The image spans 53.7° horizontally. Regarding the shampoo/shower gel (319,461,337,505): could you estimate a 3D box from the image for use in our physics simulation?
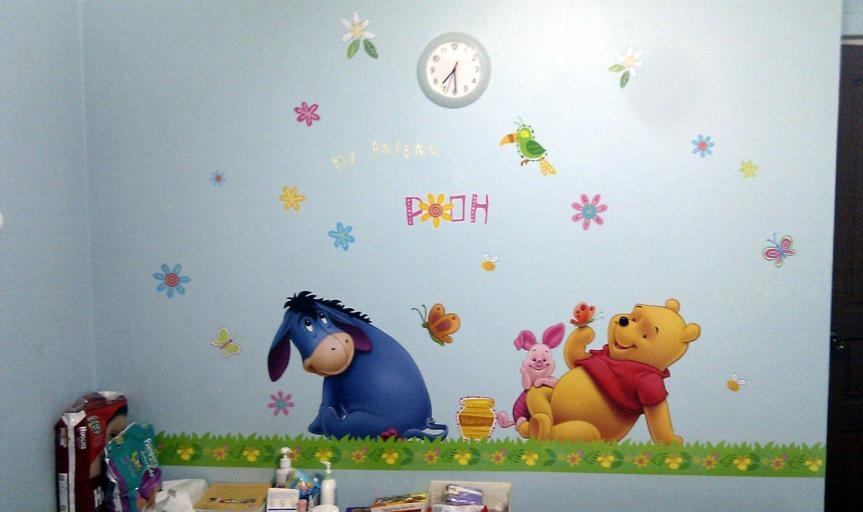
[{"bbox_3d":[-0.570,1.262,4.767,0.097,0.240,0.092,2,-17,-14],"label":"shampoo/shower gel"}]

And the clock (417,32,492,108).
[{"bbox_3d":[0.141,-1.052,4.743,0.397,0.401,0.066,-1,4,3],"label":"clock"}]

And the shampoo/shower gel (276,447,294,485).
[{"bbox_3d":[-0.821,1.177,4.792,0.098,0.217,0.075,1,-17,-13],"label":"shampoo/shower gel"}]
